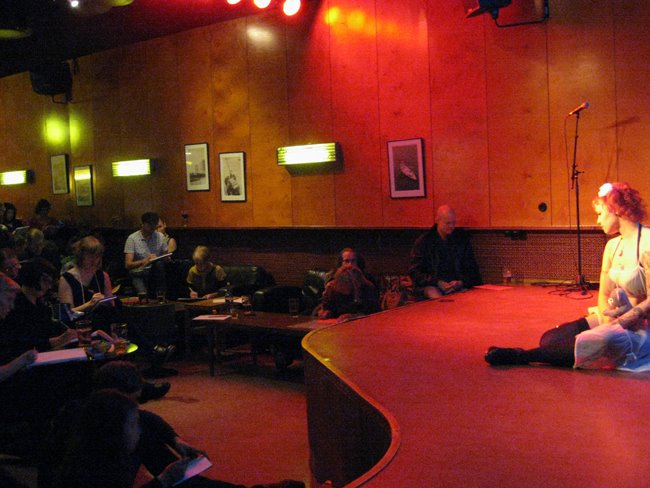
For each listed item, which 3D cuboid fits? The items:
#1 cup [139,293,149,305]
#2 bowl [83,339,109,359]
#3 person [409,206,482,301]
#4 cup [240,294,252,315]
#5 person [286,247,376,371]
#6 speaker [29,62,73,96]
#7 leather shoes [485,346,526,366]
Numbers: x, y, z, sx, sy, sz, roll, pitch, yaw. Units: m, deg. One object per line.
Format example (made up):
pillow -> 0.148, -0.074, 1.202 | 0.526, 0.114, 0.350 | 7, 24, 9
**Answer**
cup -> -2.197, 0.659, 6.799 | 0.118, 0.149, 0.115 | -1, 5, 0
bowl -> -1.682, 0.782, 4.207 | 0.124, 0.061, 0.167 | 3, 13, -1
person -> 1.421, 0.156, 6.928 | 0.710, 1.137, 1.083 | -1, 1, -3
cup -> -0.893, 0.688, 6.443 | 0.115, 0.186, 0.309 | -5, 8, -10
person -> 0.141, 0.639, 5.934 | 0.912, 1.138, 0.628 | 2, 0, 15
speaker -> -4.821, -2.868, 10.085 | 0.601, 0.607, 0.662 | 8, 13, 32
leather shoes -> 1.194, 0.729, 3.758 | 0.218, 0.091, 0.132 | -2, -5, -7
